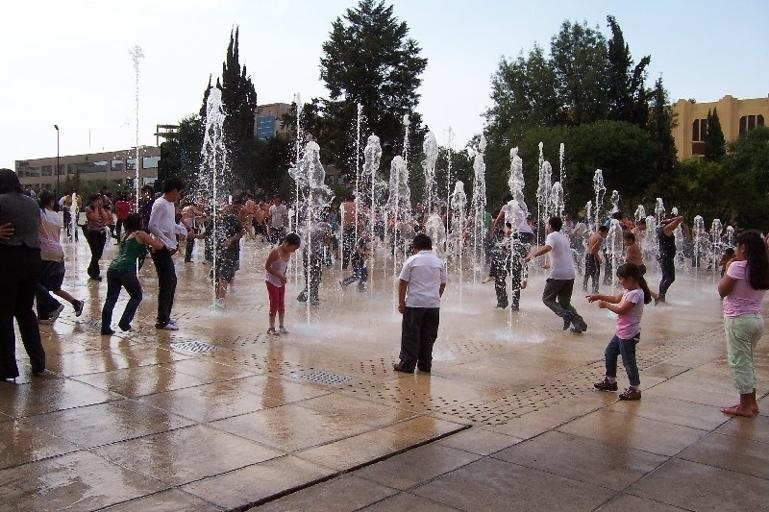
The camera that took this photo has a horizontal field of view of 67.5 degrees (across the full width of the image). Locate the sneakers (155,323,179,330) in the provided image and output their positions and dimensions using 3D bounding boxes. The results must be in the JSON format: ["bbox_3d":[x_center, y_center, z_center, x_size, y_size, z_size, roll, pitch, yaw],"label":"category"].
[{"bbox_3d":[-3.537,1.141,9.434,0.405,0.169,0.136,-2,1,-4],"label":"sneakers"}]

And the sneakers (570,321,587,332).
[{"bbox_3d":[3.542,1.300,10.470,0.150,0.190,0.288,3,-17,2],"label":"sneakers"}]

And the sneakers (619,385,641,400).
[{"bbox_3d":[2.970,1.640,6.952,0.236,0.147,0.243,5,7,23],"label":"sneakers"}]

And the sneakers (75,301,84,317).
[{"bbox_3d":[-5.137,0.901,9.674,0.123,0.281,0.094,-3,18,-12],"label":"sneakers"}]

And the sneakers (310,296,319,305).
[{"bbox_3d":[-1.483,0.962,12.277,0.128,0.130,0.122,15,14,3],"label":"sneakers"}]

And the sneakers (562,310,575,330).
[{"bbox_3d":[3.361,1.183,10.516,0.134,0.429,0.172,-3,-9,38],"label":"sneakers"}]

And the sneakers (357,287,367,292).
[{"bbox_3d":[-0.577,0.868,14.536,0.125,0.092,0.129,1,1,35],"label":"sneakers"}]
